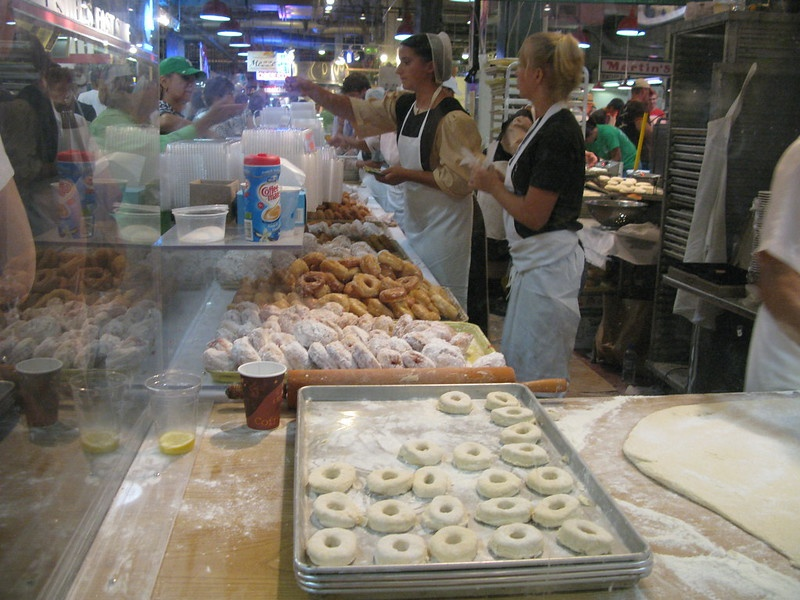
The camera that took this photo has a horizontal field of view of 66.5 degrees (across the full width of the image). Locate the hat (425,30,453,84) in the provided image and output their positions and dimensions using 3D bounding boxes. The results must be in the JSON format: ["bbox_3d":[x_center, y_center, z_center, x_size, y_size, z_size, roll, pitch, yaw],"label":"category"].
[{"bbox_3d":[0.246,-1.502,3.777,0.155,0.301,0.245,-1,21,4],"label":"hat"}]

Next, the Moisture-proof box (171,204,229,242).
[{"bbox_3d":[-0.723,-0.278,2.247,0.214,0.129,0.208,-1,11,-39],"label":"Moisture-proof box"}]

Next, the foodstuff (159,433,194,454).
[{"bbox_3d":[-0.601,0.382,1.631,0.084,0.050,0.048,-5,21,-8],"label":"foodstuff"}]

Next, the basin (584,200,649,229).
[{"bbox_3d":[1.746,-0.720,4.924,0.337,0.126,0.334,0,12,0],"label":"basin"}]

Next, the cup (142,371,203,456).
[{"bbox_3d":[-0.613,0.302,1.657,0.131,0.183,0.156,-4,21,-7],"label":"cup"}]

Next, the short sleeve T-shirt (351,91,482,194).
[{"bbox_3d":[0.169,-1.021,4.000,0.349,0.628,1.141,-16,24,-32],"label":"short sleeve T-shirt"}]

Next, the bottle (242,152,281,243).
[{"bbox_3d":[-0.483,-0.350,2.104,0.144,0.295,0.098,0,21,4],"label":"bottle"}]

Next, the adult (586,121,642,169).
[{"bbox_3d":[2.829,-2.088,8.142,0.630,0.600,0.610,5,21,17],"label":"adult"}]

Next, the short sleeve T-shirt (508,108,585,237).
[{"bbox_3d":[0.787,-0.652,3.280,0.429,0.706,0.751,5,13,11],"label":"short sleeve T-shirt"}]

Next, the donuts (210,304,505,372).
[{"bbox_3d":[-0.213,0.141,2.137,0.658,0.090,0.396,1,9,-12],"label":"donuts"}]

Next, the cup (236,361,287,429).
[{"bbox_3d":[-0.415,0.285,1.786,0.162,0.172,0.162,0,4,0],"label":"cup"}]
